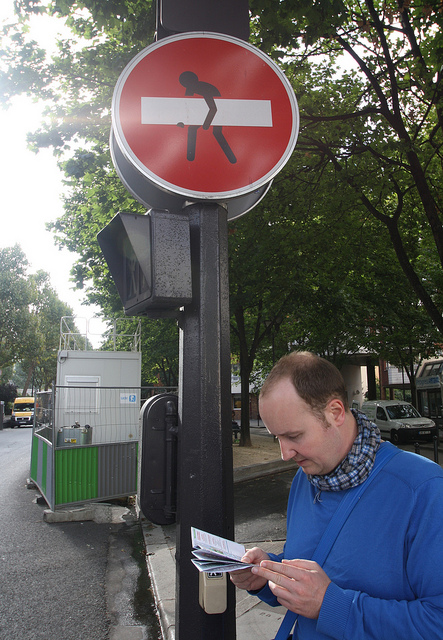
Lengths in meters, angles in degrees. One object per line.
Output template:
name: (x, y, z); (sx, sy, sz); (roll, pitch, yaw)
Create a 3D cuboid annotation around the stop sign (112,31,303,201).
stop sign: (-0.052, -0.839, 2.149); (0.727, 0.737, 0.177); (0, -6, -15)

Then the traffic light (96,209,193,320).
traffic light: (-0.278, -0.209, 2.091); (0.237, 0.358, 0.339); (1, -10, -26)

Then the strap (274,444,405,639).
strap: (0.357, 0.660, 1.579); (0.059, 0.796, 0.088); (15, 11, -29)
